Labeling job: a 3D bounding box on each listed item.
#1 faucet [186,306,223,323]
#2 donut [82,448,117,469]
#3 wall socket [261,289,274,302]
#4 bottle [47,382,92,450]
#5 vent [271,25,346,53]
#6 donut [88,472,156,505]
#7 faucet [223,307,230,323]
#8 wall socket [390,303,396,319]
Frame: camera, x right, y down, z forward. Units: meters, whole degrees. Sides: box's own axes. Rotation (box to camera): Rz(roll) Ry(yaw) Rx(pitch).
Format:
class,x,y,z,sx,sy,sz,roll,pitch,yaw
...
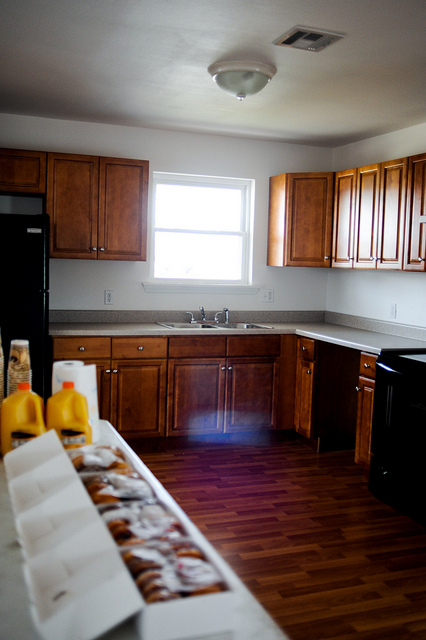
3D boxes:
class,x,y,z,sx,sy,sz,roll,pitch,yaw
faucet,-0.069,-0.050,4.292,0.281,0.148,0.155,0,3,-42
donut,-0.191,0.229,0.801,0.057,0.008,0.088,2,3,-10
wall socket,0.509,-0.239,4.521,0.120,0.112,0.012,-2,10,-13
bottle,-0.322,0.216,1.042,0.093,0.144,0.101,-7,-13,-2
vent,0.454,-1.345,2.286,0.270,0.033,0.225,1,3,-20
donut,-0.130,0.242,0.676,0.092,0.018,0.108,1,3,-15
faucet,0.120,-0.047,4.340,0.062,0.135,0.140,2,2,1
wall socket,1.469,-0.075,3.882,0.005,0.073,0.065,1,2,-23
